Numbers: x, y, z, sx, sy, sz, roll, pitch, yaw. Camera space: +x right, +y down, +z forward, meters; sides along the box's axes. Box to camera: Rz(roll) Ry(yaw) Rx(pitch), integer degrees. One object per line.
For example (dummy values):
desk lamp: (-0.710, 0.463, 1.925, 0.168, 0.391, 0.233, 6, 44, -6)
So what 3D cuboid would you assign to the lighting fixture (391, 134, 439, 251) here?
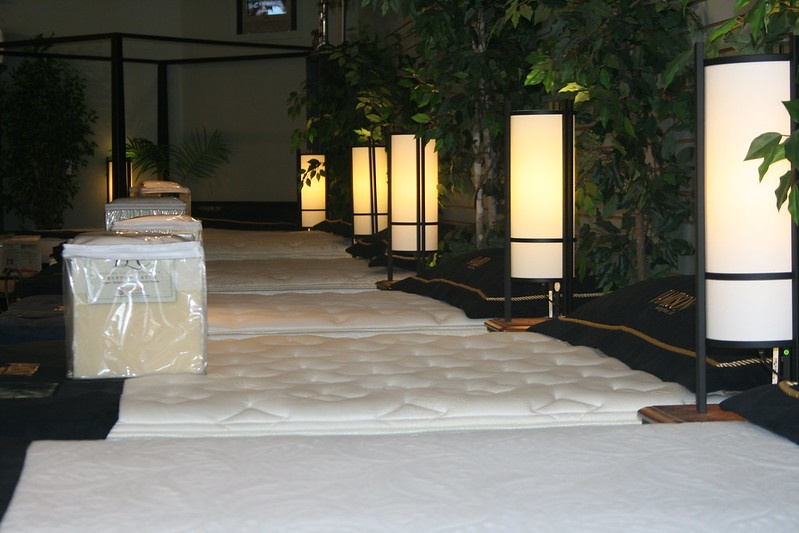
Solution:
lighting fixture: (0.076, -0.482, 4.213, 0.318, 0.790, 0.258, 2, 8, 12)

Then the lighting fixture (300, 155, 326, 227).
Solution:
lighting fixture: (-0.955, -0.828, 6.966, 0.292, 0.820, 0.646, -1, 7, -7)

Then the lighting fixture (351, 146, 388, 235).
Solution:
lighting fixture: (-0.267, -0.656, 5.550, 0.297, 0.787, 0.350, -1, 7, -5)

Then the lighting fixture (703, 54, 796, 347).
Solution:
lighting fixture: (0.874, -0.158, 1.578, 0.233, 0.700, 0.101, 0, 8, 0)

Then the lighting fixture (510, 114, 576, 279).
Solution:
lighting fixture: (0.610, -0.314, 2.854, 0.240, 0.737, 0.127, 1, 8, 9)
